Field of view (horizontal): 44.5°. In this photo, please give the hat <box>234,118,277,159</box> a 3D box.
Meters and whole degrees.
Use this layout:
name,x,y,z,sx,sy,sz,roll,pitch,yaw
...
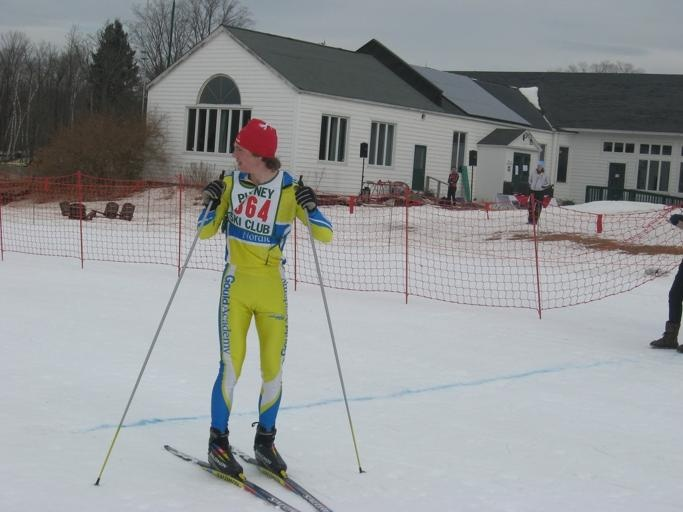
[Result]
name,x,y,z,sx,sy,sz,roll,pitch,yaw
hat,-0.717,-1.005,7.340,0.351,0.273,0.328,26,14,-20

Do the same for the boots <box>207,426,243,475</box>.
name,x,y,z,sx,sy,sz,roll,pitch,yaw
boots,-1.012,1.723,7.269,0.194,0.389,0.562,-7,11,-35

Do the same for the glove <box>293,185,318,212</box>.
name,x,y,z,sx,sy,sz,roll,pitch,yaw
glove,-0.289,-0.513,7.329,0.085,0.233,0.171,-11,-22,-49

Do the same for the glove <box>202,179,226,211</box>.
name,x,y,z,sx,sy,sz,roll,pitch,yaw
glove,-1.121,-0.531,7.278,0.089,0.245,0.186,13,-12,19
